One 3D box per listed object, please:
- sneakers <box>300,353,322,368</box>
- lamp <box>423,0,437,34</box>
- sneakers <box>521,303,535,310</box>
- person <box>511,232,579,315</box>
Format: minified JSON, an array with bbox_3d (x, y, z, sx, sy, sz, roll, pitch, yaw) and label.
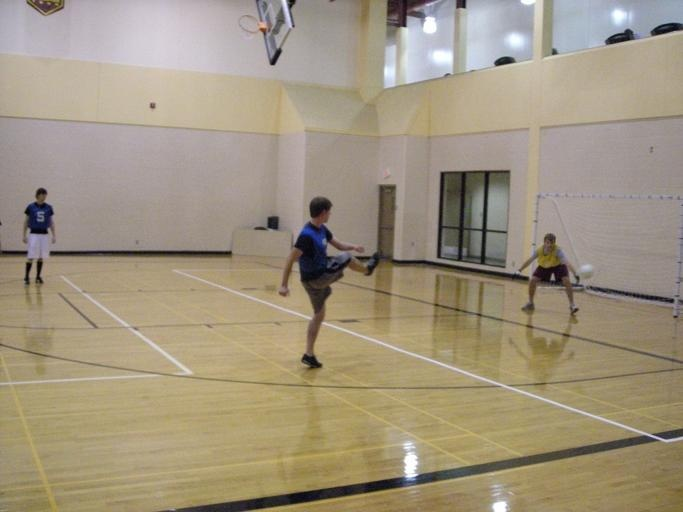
[{"bbox_3d":[-0.307,1.101,5.634,0.268,0.129,0.103,25,0,-41],"label":"sneakers"},{"bbox_3d":[2.947,-7.907,17.782,0.451,0.987,0.788,2,6,4],"label":"lamp"},{"bbox_3d":[3.176,0.865,9.291,0.292,0.133,0.103,1,1,9],"label":"sneakers"},{"bbox_3d":[3.614,0.272,9.206,0.871,1.331,0.983,5,6,26],"label":"person"}]
